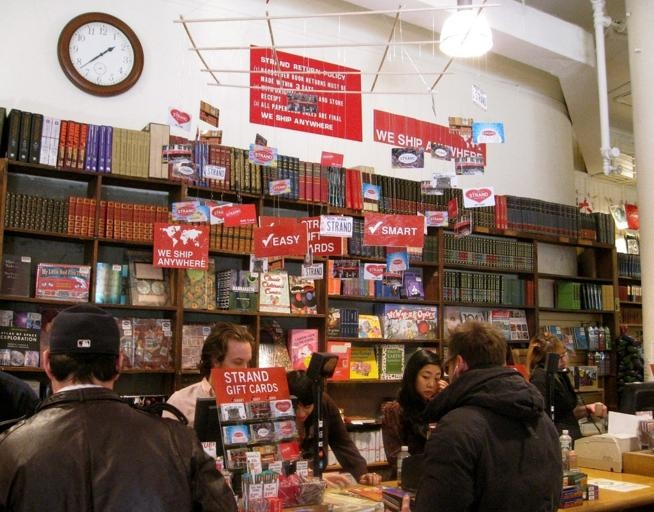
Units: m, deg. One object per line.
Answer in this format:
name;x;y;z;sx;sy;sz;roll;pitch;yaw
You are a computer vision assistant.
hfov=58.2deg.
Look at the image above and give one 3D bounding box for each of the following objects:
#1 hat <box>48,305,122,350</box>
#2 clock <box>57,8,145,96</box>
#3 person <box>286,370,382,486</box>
hat;-0.838;0.234;2.033;0.138;0.107;0.199;1;3;-19
clock;-2.039;-1.809;5.292;0.666;0.754;0.081;4;-9;-21
person;0.035;1.055;3.553;0.546;0.685;0.889;1;-8;-7
